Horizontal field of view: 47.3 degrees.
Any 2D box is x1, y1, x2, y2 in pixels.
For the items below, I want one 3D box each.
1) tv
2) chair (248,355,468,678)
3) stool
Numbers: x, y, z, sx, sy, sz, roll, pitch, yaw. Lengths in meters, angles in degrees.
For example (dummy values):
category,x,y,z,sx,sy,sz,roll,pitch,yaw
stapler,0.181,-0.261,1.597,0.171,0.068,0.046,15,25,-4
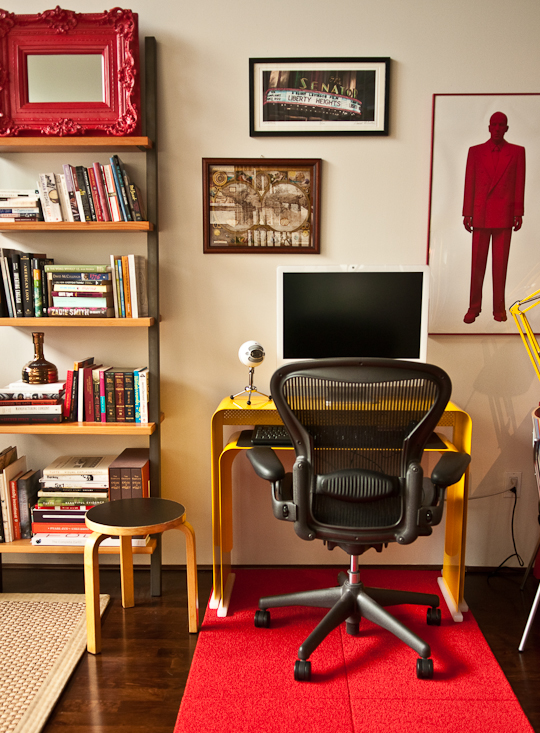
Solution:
category,x,y,z,sx,sy,sz,roll,pitch,yaw
tv,0.276,-0.131,2.079,0.491,0.335,0.037,0,5,1
chair,0.252,0.494,2.356,0.913,0.751,0.416,-1,0,1
stool,-0.432,0.628,2.192,0.451,0.544,0.443,-3,7,-17
